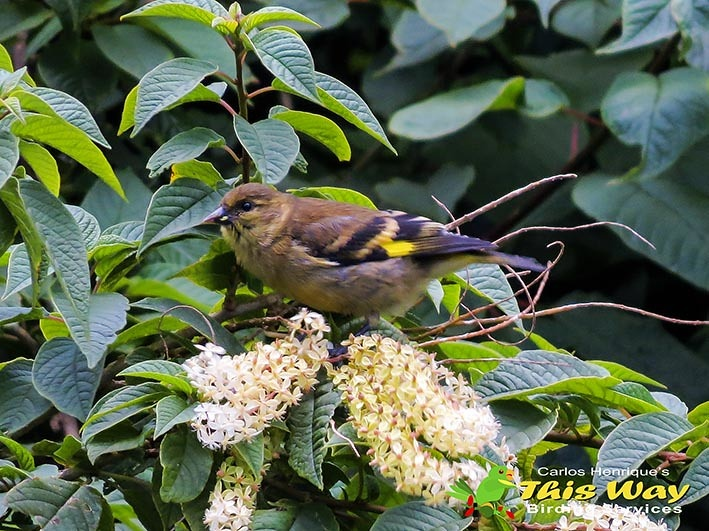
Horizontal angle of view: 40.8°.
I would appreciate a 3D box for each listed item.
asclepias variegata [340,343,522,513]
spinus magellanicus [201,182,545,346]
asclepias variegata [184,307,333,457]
[{"bbox_3d":[0.159,0.544,3.548,0.745,0.824,0.505,-2,93,-11],"label":"asclepias variegata"},{"bbox_3d":[0.091,-0.044,4.321,1.551,0.421,0.618,-2,92,-16],"label":"spinus magellanicus"},{"bbox_3d":[-0.343,0.390,3.366,0.355,0.224,0.522,18,49,33],"label":"asclepias variegata"}]
